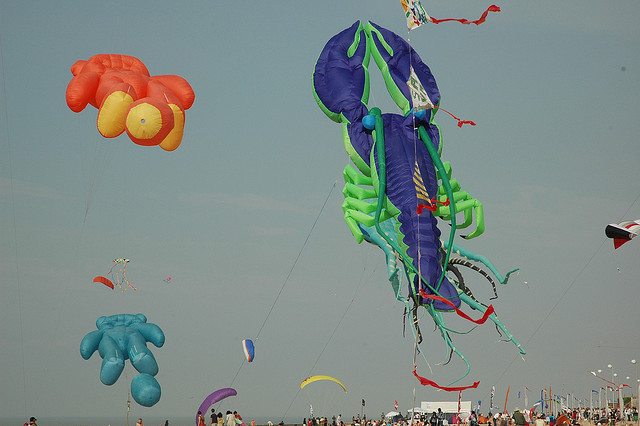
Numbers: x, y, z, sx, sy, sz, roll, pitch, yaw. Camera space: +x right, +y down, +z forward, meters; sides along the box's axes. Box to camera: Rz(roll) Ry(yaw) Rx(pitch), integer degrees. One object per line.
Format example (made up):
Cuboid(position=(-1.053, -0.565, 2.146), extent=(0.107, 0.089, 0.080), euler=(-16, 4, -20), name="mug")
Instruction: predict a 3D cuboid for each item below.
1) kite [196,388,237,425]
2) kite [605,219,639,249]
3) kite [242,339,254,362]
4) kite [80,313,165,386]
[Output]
Cuboid(position=(-5.652, 10.428, 70.872), extent=(1.746, 1.869, 3.473), euler=(9, -37, -13), name="kite")
Cuboid(position=(13.319, 0.875, 57.111), extent=(1.337, 1.733, 0.548), euler=(16, -56, 40), name="kite")
Cuboid(position=(-3.799, 7.327, 69.230), extent=(0.422, 1.150, 0.669), euler=(-8, -35, 11), name="kite")
Cuboid(position=(-10.543, 7.041, 69.172), extent=(4.289, 5.347, 2.060), euler=(-6, -64, -13), name="kite")
